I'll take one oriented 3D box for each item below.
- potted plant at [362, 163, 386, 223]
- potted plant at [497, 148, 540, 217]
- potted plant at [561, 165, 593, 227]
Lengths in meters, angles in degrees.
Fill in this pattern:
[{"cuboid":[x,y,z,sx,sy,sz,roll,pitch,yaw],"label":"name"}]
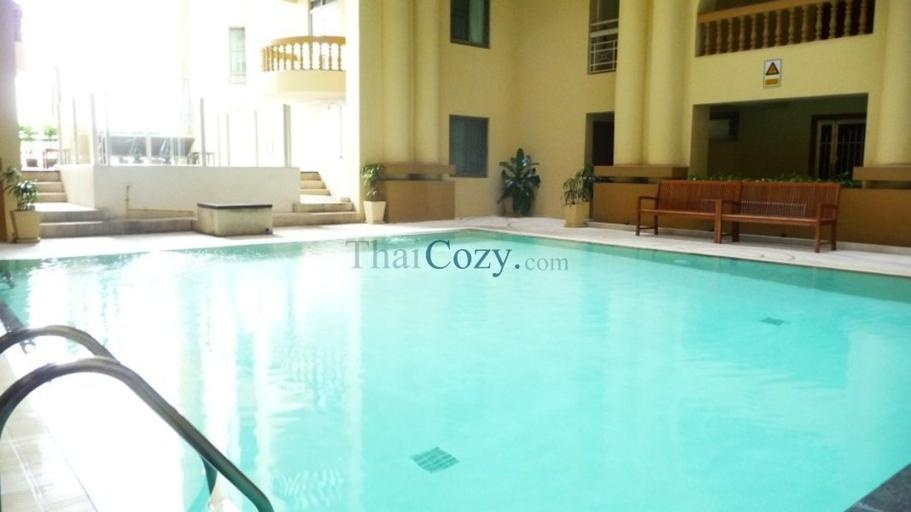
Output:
[{"cuboid":[-2.203,-1.675,15.947,0.630,1.530,0.650,-2,14,-7],"label":"potted plant"},{"cuboid":[1.964,-2.207,17.945,1.280,2.012,0.622,1,14,6],"label":"potted plant"},{"cuboid":[3.240,-1.573,15.569,0.746,1.432,1.711,5,15,20],"label":"potted plant"}]
